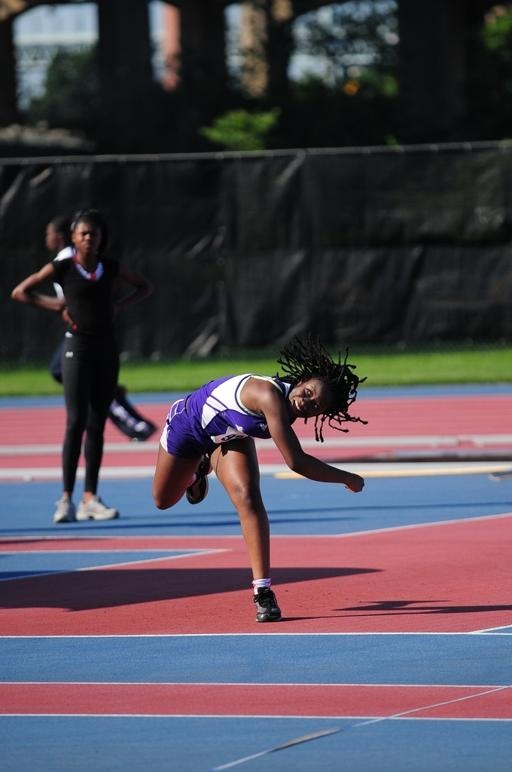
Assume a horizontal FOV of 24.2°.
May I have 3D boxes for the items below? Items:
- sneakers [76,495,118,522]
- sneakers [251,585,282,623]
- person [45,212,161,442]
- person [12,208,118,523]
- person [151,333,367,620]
[{"bbox_3d":[-0.973,0.740,7.186,0.326,0.125,0.115,1,-4,18],"label":"sneakers"},{"bbox_3d":[0.045,0.894,4.879,0.113,0.135,0.111,2,16,0],"label":"sneakers"},{"bbox_3d":[-1.015,-0.253,7.586,0.765,1.723,0.562,1,20,-17],"label":"person"},{"bbox_3d":[-1.051,-0.088,6.977,0.515,1.874,0.562,-4,18,-19],"label":"person"},{"bbox_3d":[-0.002,0.299,5.249,1.275,0.923,0.874,3,11,40],"label":"person"}]
